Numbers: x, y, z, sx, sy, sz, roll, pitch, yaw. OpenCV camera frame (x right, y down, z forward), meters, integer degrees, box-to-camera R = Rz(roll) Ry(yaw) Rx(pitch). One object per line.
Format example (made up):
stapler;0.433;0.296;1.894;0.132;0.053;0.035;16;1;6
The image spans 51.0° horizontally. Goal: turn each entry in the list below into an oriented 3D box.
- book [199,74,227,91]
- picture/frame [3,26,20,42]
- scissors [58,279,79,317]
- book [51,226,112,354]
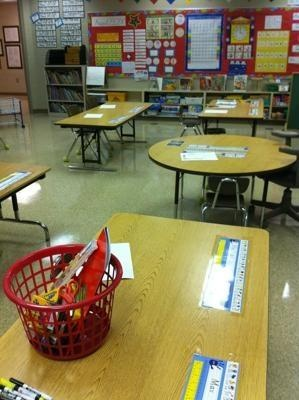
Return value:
book;1.614;-3.004;8.034;0.623;0.363;0.166;1;24;8
picture/frame;-4.965;-5.964;11.251;0.645;0.570;0.198;-2;23;3
scissors;-0.163;0.223;0.697;0.055;0.056;0.057;3;-9;4
book;-0.140;0.202;0.761;0.080;0.268;0.043;19;-14;47
